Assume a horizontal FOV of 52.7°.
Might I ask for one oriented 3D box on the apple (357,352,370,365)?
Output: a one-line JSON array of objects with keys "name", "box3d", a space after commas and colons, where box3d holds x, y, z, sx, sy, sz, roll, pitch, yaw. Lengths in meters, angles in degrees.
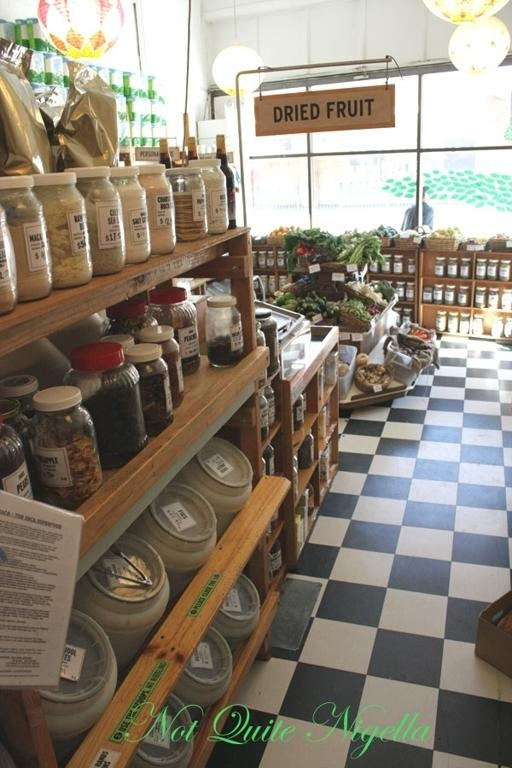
[{"name": "apple", "box3d": [1.113, -0.243, 5.370, 0.109, 0.112, 0.116, -6, 35, -7]}]
